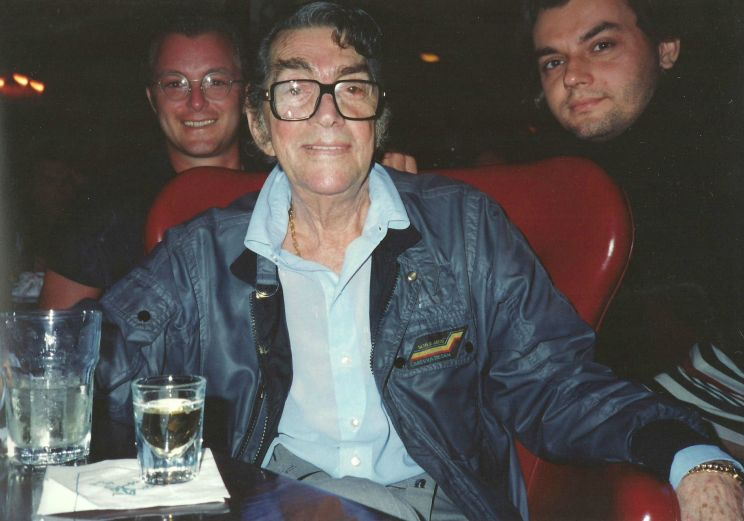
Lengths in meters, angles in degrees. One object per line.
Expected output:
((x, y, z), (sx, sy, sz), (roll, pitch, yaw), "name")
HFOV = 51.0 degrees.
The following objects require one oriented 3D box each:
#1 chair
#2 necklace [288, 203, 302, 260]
((0.140, 0.354, 2.943), (1.390, 1.628, 1.370), (-1, -8, -4), "chair")
((-0.285, -0.108, 2.957), (0.029, 0.239, 0.020), (-11, -6, 29), "necklace")
